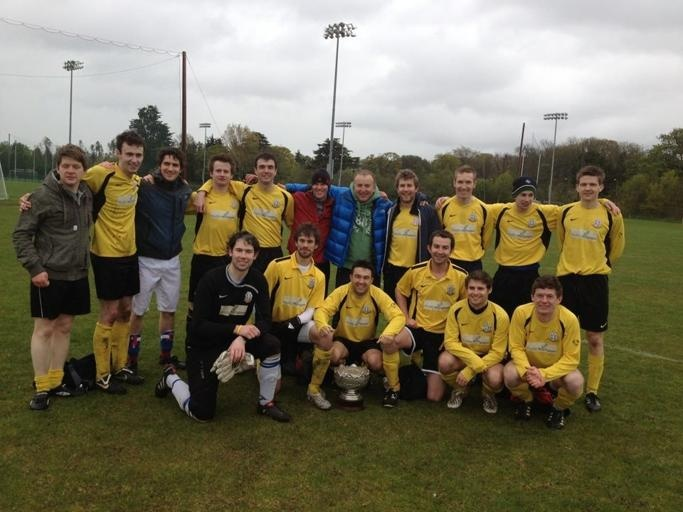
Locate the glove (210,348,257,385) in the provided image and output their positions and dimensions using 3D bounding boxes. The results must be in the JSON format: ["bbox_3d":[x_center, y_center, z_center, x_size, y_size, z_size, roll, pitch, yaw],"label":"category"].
[{"bbox_3d":[-1.247,1.160,6.211,0.376,0.380,0.179,-41,25,-8],"label":"glove"}]

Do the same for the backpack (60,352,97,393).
[{"bbox_3d":[-3.085,1.402,6.664,0.286,0.420,0.406,0,9,-4],"label":"backpack"}]

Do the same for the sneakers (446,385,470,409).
[{"bbox_3d":[1.391,1.676,6.762,0.178,0.231,0.397,9,15,27],"label":"sneakers"}]

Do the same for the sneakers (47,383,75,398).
[{"bbox_3d":[-3.219,1.554,6.399,0.302,0.112,0.130,1,-35,-32],"label":"sneakers"}]

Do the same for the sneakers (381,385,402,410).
[{"bbox_3d":[0.599,1.692,6.766,0.207,0.173,0.343,4,14,6],"label":"sneakers"}]

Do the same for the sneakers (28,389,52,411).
[{"bbox_3d":[-3.313,1.583,6.092,0.194,0.148,0.178,-6,15,-31],"label":"sneakers"}]

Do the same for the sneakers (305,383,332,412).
[{"bbox_3d":[-0.263,1.671,6.669,0.273,0.204,0.413,0,14,-9],"label":"sneakers"}]

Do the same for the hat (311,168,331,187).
[{"bbox_3d":[-0.300,-1.120,7.934,0.182,0.220,0.256,4,-2,0],"label":"hat"}]

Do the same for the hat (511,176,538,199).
[{"bbox_3d":[2.409,-0.909,7.385,0.248,0.266,0.330,1,-1,-5],"label":"hat"}]

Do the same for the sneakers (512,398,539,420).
[{"bbox_3d":[2.175,1.783,6.632,0.251,0.202,0.512,7,14,18],"label":"sneakers"}]

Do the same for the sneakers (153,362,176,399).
[{"bbox_3d":[-2.140,1.514,6.601,0.201,0.256,0.564,15,-43,-33],"label":"sneakers"}]

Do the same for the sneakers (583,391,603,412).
[{"bbox_3d":[3.014,1.748,6.671,0.117,0.117,0.265,-3,-5,10],"label":"sneakers"}]

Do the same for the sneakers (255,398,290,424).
[{"bbox_3d":[-0.773,1.741,6.302,0.441,0.187,0.165,8,16,36],"label":"sneakers"}]

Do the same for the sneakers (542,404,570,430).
[{"bbox_3d":[2.457,1.830,6.345,0.143,0.176,0.403,4,-5,17],"label":"sneakers"}]

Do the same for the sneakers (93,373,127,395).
[{"bbox_3d":[-2.730,1.519,6.664,0.453,0.205,0.180,6,14,11],"label":"sneakers"}]

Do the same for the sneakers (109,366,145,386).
[{"bbox_3d":[-2.663,1.471,6.910,0.442,0.188,0.171,2,10,0],"label":"sneakers"}]
